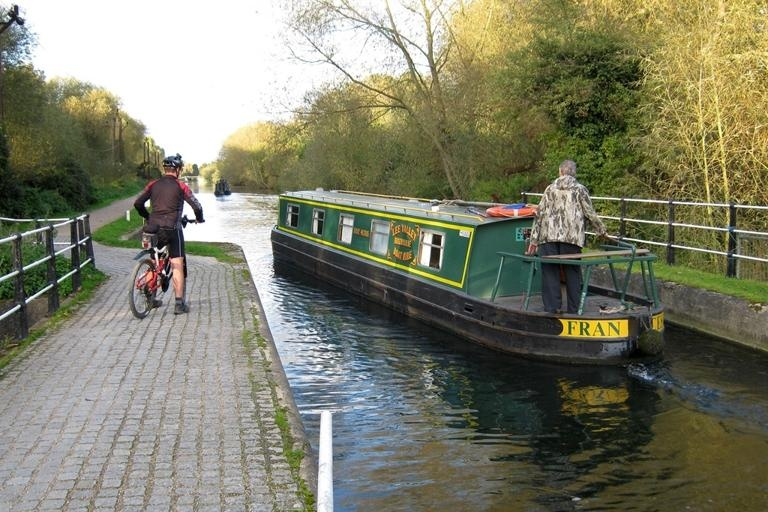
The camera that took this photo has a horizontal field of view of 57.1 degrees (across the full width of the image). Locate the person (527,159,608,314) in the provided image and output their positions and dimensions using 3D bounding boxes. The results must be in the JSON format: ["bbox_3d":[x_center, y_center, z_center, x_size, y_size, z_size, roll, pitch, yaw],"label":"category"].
[{"bbox_3d":[3.306,-0.348,13.090,1.262,2.768,0.730,0,9,12],"label":"person"}]

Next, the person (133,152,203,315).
[{"bbox_3d":[-4.124,-0.395,13.662,1.188,3.087,1.268,-5,9,-19],"label":"person"}]

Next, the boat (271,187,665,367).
[{"bbox_3d":[1.320,0.179,17.546,3.252,2.685,12.680,-4,12,-32],"label":"boat"}]

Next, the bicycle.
[{"bbox_3d":[-4.478,0.224,14.160,1.115,1.349,2.209,4,14,0],"label":"bicycle"}]

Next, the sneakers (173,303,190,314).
[{"bbox_3d":[-3.994,1.032,13.865,0.135,0.151,0.341,2,9,3],"label":"sneakers"}]

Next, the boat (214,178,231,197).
[{"bbox_3d":[-16.906,-6.827,72.996,1.353,1.689,4.357,-1,3,-8],"label":"boat"}]
